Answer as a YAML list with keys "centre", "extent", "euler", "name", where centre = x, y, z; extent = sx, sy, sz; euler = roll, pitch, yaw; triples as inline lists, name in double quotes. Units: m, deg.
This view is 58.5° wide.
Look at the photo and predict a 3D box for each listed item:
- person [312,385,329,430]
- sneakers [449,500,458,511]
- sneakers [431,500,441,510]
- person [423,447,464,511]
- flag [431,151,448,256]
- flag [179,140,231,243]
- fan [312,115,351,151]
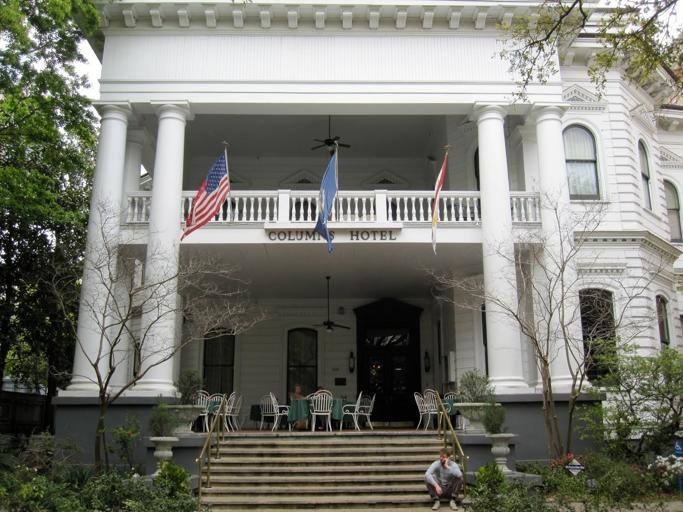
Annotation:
- centre: [-0.638, 4.673, 18.463]
  extent: [0.664, 1.212, 0.826]
  euler: [1, -8, -5]
  name: "person"
- centre: [2.401, 5.379, 13.193]
  extent: [0.171, 0.193, 0.347]
  euler: [-2, -15, 9]
  name: "sneakers"
- centre: [2.013, 5.386, 13.198]
  extent: [0.166, 0.184, 0.365]
  euler: [-3, -15, 11]
  name: "sneakers"
- centre: [2.253, 4.898, 13.463]
  extent: [0.842, 1.248, 0.633]
  euler: [-1, -14, 3]
  name: "person"
- centre: [2.681, -1.580, 17.218]
  extent: [0.297, 3.320, 0.532]
  euler: [8, 5, 15]
  name: "flag"
- centre: [-3.728, -1.993, 16.924]
  extent: [1.124, 2.796, 1.809]
  euler: [4, -15, -16]
  name: "flag"
- centre: [-0.448, -4.638, 22.263]
  extent: [1.073, 1.356, 0.952]
  euler: [-2, -14, 22]
  name: "fan"
